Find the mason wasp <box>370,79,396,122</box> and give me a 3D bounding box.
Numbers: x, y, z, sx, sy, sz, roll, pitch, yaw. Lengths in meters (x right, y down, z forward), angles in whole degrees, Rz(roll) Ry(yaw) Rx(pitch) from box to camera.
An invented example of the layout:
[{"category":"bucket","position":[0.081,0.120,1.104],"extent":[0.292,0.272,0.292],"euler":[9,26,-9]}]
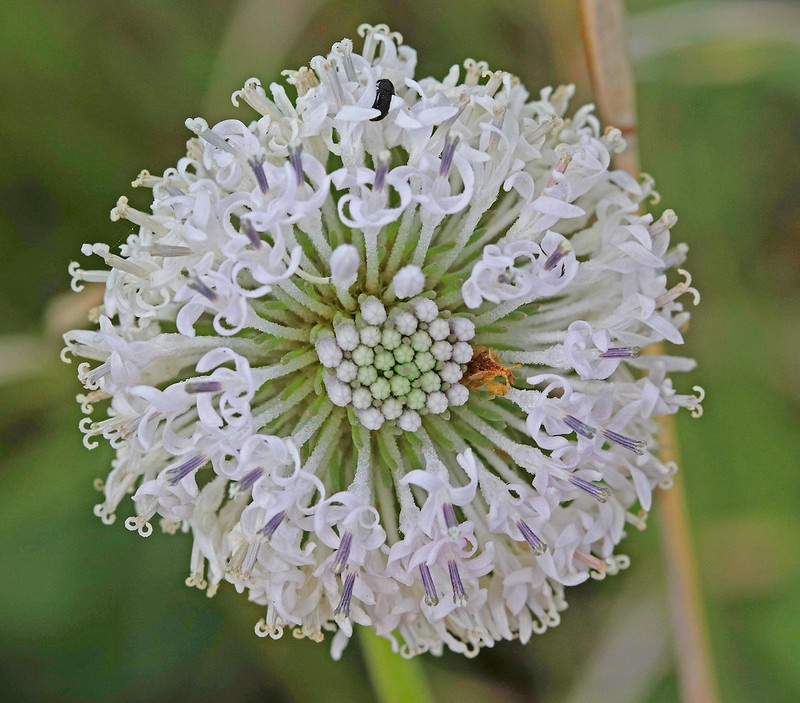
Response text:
[{"category":"mason wasp","position":[-0.074,-0.921,3.246],"extent":[0.101,0.043,0.150],"euler":[22,75,-38]}]
